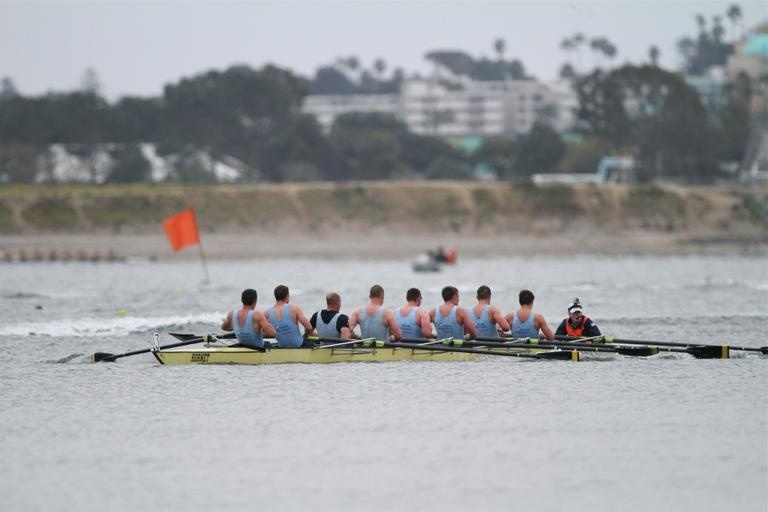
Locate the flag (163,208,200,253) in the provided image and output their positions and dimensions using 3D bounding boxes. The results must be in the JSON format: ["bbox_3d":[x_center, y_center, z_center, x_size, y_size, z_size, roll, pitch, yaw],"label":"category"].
[{"bbox_3d":[-6.186,-0.871,55.316,1.087,1.159,0.125,-23,12,-5],"label":"flag"}]

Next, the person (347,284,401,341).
[{"bbox_3d":[-0.203,1.740,49.407,1.399,1.969,1.090,5,11,14],"label":"person"}]

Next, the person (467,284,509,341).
[{"bbox_3d":[2.723,1.588,49.376,0.867,1.553,1.122,8,-2,-22],"label":"person"}]

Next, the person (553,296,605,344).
[{"bbox_3d":[5.221,1.739,49.839,0.932,1.288,1.578,1,-1,0],"label":"person"}]

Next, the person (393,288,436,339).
[{"bbox_3d":[0.716,1.548,49.359,1.269,1.556,0.801,4,-1,-27],"label":"person"}]

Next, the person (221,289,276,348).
[{"bbox_3d":[-3.600,1.622,48.539,1.354,1.591,0.728,0,8,2],"label":"person"}]
